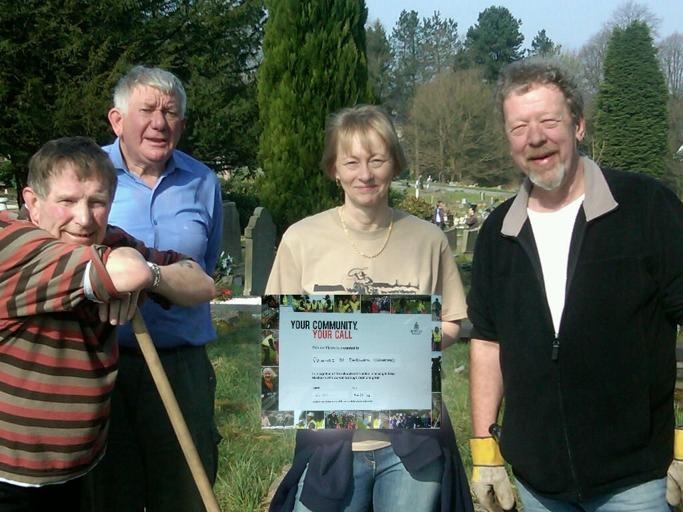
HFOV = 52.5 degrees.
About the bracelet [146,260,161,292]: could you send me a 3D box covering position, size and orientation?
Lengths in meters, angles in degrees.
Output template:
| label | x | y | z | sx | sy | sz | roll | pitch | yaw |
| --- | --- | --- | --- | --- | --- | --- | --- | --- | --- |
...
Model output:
| label | x | y | z | sx | sy | sz | roll | pitch | yaw |
| --- | --- | --- | --- | --- | --- | --- | --- | --- | --- |
| bracelet | -0.886 | 0.083 | 3.290 | 0.075 | 0.132 | 0.125 | 0 | -12 | -23 |
